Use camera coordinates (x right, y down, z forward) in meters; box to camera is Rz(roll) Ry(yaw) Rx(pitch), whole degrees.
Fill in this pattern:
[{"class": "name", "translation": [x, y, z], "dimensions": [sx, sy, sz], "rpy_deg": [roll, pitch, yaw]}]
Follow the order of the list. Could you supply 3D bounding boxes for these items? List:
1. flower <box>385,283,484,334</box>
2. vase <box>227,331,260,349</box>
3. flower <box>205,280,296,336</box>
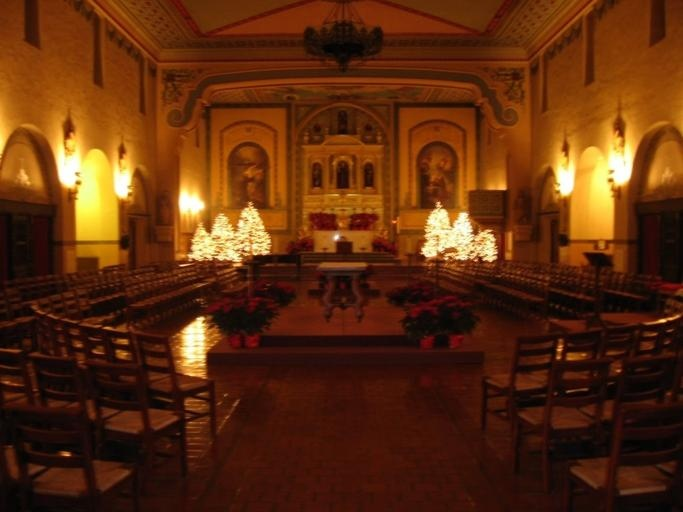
[{"class": "flower", "translation": [1.614, 0.929, 8.836], "dimensions": [1.218, 0.495, 1.143], "rpy_deg": [2, 2, 8]}, {"class": "vase", "translation": [-1.550, 1.321, 8.505], "dimensions": [0.339, 0.141, 0.398], "rpy_deg": [1, 0, -2]}, {"class": "flower", "translation": [-1.417, 0.892, 8.921], "dimensions": [1.088, 0.676, 1.321], "rpy_deg": [-1, 3, 9]}]
